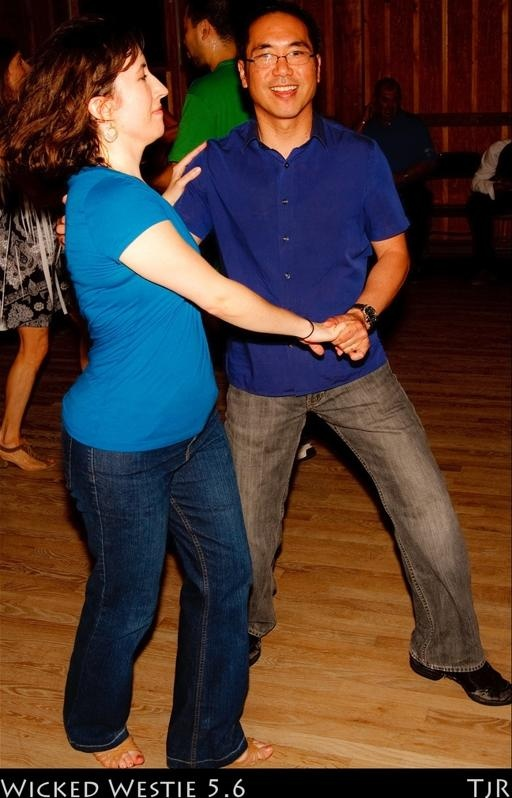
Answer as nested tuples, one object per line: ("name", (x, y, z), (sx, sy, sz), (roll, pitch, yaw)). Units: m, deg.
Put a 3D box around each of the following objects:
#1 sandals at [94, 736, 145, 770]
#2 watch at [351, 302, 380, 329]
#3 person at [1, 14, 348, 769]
("sandals", (-0.296, 0.770, 1.410), (0.064, 0.044, 0.143), (0, 5, 5))
("watch", (0.232, -0.174, 1.343), (0.055, 0.059, 0.090), (0, 23, 10))
("person", (-0.184, 0.155, 1.172), (0.536, 1.505, 0.290), (-5, 23, -2))
